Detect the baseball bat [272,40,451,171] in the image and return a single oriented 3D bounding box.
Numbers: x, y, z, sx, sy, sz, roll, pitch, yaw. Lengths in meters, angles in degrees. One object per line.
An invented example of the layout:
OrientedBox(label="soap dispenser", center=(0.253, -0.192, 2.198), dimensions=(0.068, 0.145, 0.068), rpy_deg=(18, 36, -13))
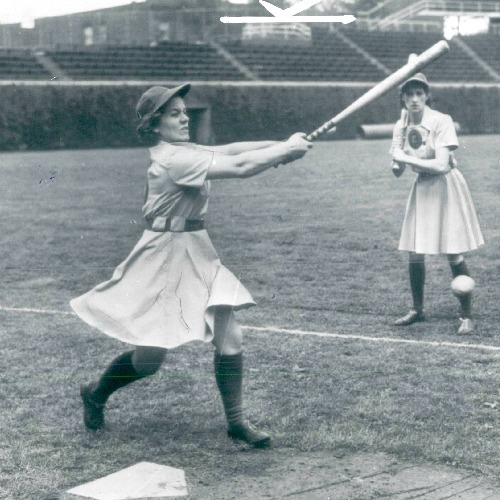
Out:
OrientedBox(label="baseball bat", center=(0.509, -0.696, 6.407), dimensions=(1.155, 0.120, 0.110), rpy_deg=(-27, 36, -4))

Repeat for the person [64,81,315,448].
OrientedBox(label="person", center=(-0.197, 0.061, 5.998), dimensions=(1.044, 1.579, 0.764), rpy_deg=(0, 9, 18))

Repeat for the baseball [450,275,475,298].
OrientedBox(label="baseball", center=(1.041, 0.179, 6.661), dimensions=(0.099, 0.082, 0.108), rpy_deg=(-2, 46, 15))

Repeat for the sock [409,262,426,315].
OrientedBox(label="sock", center=(0.839, 0.188, 6.669), dimensions=(0.066, 0.252, 0.119), rpy_deg=(5, 12, 44))

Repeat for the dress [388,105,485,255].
OrientedBox(label="dress", center=(0.933, -0.330, 6.767), dimensions=(0.449, 0.728, 0.421), rpy_deg=(-1, -2, 17))

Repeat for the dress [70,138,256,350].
OrientedBox(label="dress", center=(-0.363, -0.082, 5.921), dimensions=(0.832, 0.855, 0.831), rpy_deg=(-2, 6, -20))

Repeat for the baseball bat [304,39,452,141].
OrientedBox(label="baseball bat", center=(0.582, -0.760, 6.410), dimensions=(0.841, 0.096, 0.098), rpy_deg=(-34, -11, 1))

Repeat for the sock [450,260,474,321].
OrientedBox(label="sock", center=(1.045, 0.195, 6.658), dimensions=(0.096, 0.336, 0.090), rpy_deg=(-12, 11, 3))
